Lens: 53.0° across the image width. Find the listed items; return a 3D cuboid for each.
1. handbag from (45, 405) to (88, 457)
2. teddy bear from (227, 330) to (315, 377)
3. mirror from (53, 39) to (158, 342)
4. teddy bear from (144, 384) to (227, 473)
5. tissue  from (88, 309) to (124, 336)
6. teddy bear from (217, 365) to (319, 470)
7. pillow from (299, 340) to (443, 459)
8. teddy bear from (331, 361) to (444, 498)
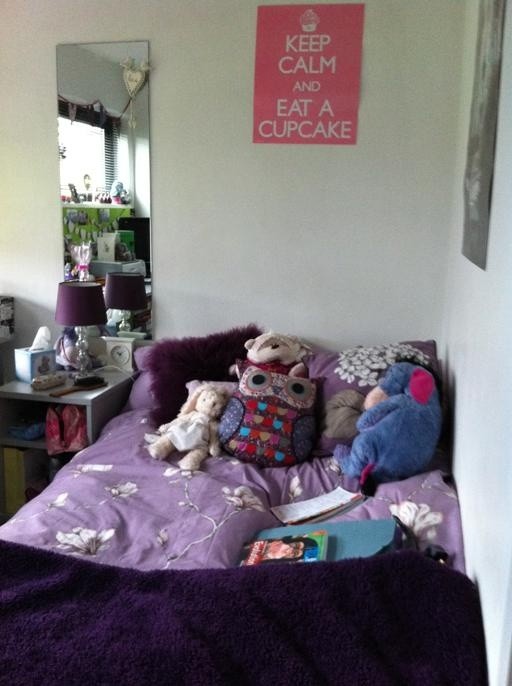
[{"bbox_3d":[-0.839,0.384,2.272,0.212,0.212,0.078,0,-7,14],"label":"handbag"},{"bbox_3d":[0.062,0.074,2.258,0.310,0.188,0.435,-4,2,24],"label":"teddy bear"},{"bbox_3d":[-0.746,-0.693,2.622,0.025,1.819,0.617,30,36,36],"label":"mirror"},{"bbox_3d":[-0.236,0.312,2.000,0.258,0.155,0.418,10,34,17],"label":"teddy bear"},{"bbox_3d":[-0.778,-0.089,2.675,0.143,0.142,0.141,-1,-10,1],"label":"tissue "},{"bbox_3d":[0.062,0.211,2.079,0.393,0.156,0.442,6,38,15],"label":"teddy bear"},{"bbox_3d":[0.501,0.129,2.095,0.599,0.169,0.581,-14,22,8],"label":"pillow"},{"bbox_3d":[0.476,0.299,1.661,0.229,0.301,0.401,5,47,42],"label":"teddy bear"}]
